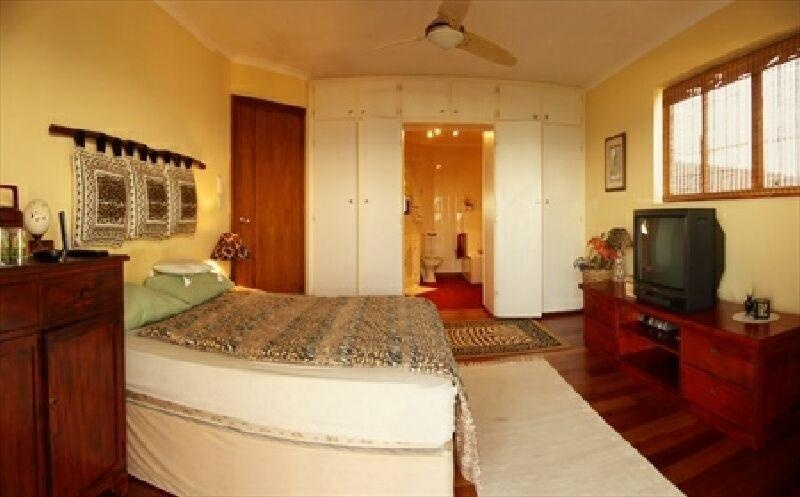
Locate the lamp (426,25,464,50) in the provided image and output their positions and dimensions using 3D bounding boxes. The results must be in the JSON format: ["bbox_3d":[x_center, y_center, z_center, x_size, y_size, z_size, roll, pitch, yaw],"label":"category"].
[{"bbox_3d":[0.460,-2.115,5.262,0.345,0.182,0.265,-2,3,-26],"label":"lamp"}]

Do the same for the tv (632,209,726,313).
[{"bbox_3d":[3.015,0.103,5.644,0.661,1.047,0.802,-2,5,-13],"label":"tv"}]

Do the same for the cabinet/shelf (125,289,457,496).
[{"bbox_3d":[-0.936,1.220,4.248,1.743,0.640,1.597,1,-1,2],"label":"cabinet/shelf"}]

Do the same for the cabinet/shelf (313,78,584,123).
[{"bbox_3d":[0.717,-2.179,7.877,4.102,0.634,0.572,1,25,-1],"label":"cabinet/shelf"}]
